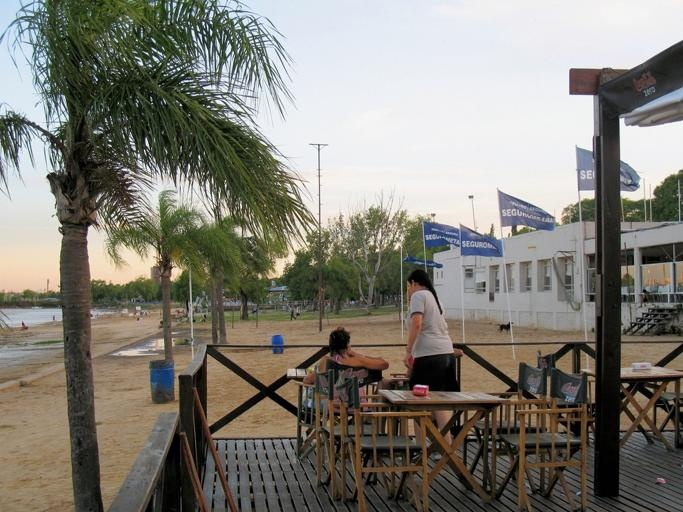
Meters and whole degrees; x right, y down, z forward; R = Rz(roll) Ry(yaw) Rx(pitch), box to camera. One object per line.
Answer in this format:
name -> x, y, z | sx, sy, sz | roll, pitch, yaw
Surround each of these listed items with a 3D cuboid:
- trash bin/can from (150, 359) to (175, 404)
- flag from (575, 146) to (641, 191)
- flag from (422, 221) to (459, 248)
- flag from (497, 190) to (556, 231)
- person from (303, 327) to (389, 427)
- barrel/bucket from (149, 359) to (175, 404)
trash bin/can -> -3.835, 2.655, 13.671 | 0.513, 0.916, 0.568 | 4, 10, 15
flag -> 7.620, -2.476, 18.315 | 1.912, 1.626, 0.193 | 3, 39, 24
flag -> 4.267, -0.999, 27.660 | 1.493, 0.857, 1.704 | -3, -2, 8
flag -> 6.666, -1.624, 23.508 | 1.108, 1.204, 2.708 | -3, -2, 40
person -> 0.026, 1.465, 7.368 | 0.859, 1.414, 0.671 | 3, 10, 11
barrel/bucket -> -3.837, 2.660, 13.672 | 0.495, 0.920, 0.506 | 1, 9, 0
